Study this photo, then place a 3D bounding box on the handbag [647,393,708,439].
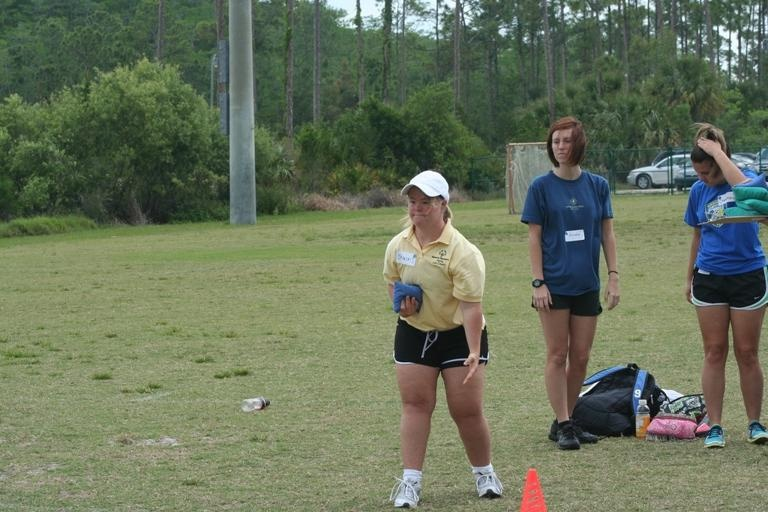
[{"bbox_3d":[10.009,5.498,47.887,1.896,1.380,0.766,-2,-29,-3],"label":"handbag"}]
